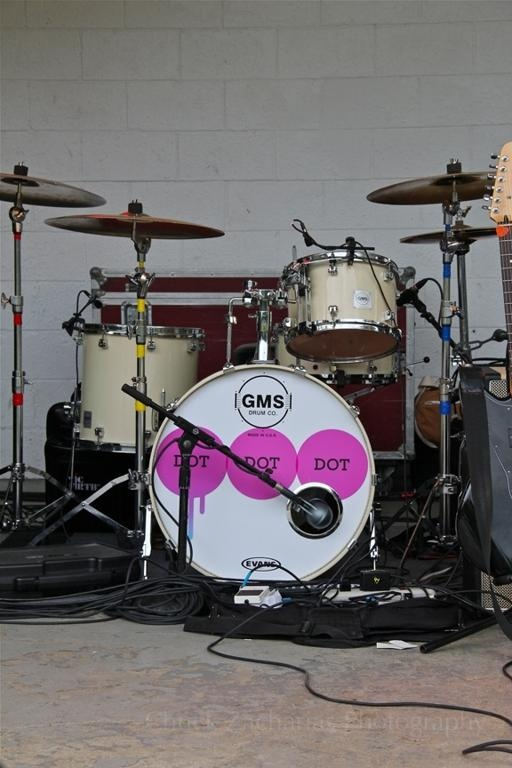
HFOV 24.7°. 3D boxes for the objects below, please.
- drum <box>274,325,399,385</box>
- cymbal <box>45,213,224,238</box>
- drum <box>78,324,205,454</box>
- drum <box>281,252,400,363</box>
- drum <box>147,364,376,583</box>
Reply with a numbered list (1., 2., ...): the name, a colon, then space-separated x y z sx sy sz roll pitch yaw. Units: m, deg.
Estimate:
1. drum: 0.276 -0.094 4.685 0.617 0.234 0.619 0 -1 0
2. cymbal: -0.478 -0.611 4.583 0.585 0.102 0.595 -7 11 -41
3. drum: -0.464 0.027 4.576 0.498 0.432 0.485 3 1 5
4. drum: 0.301 -0.247 4.118 0.428 0.434 0.459 -2 9 -13
5. drum: 0.023 0.322 3.826 0.796 0.748 0.275 0 -3 1
